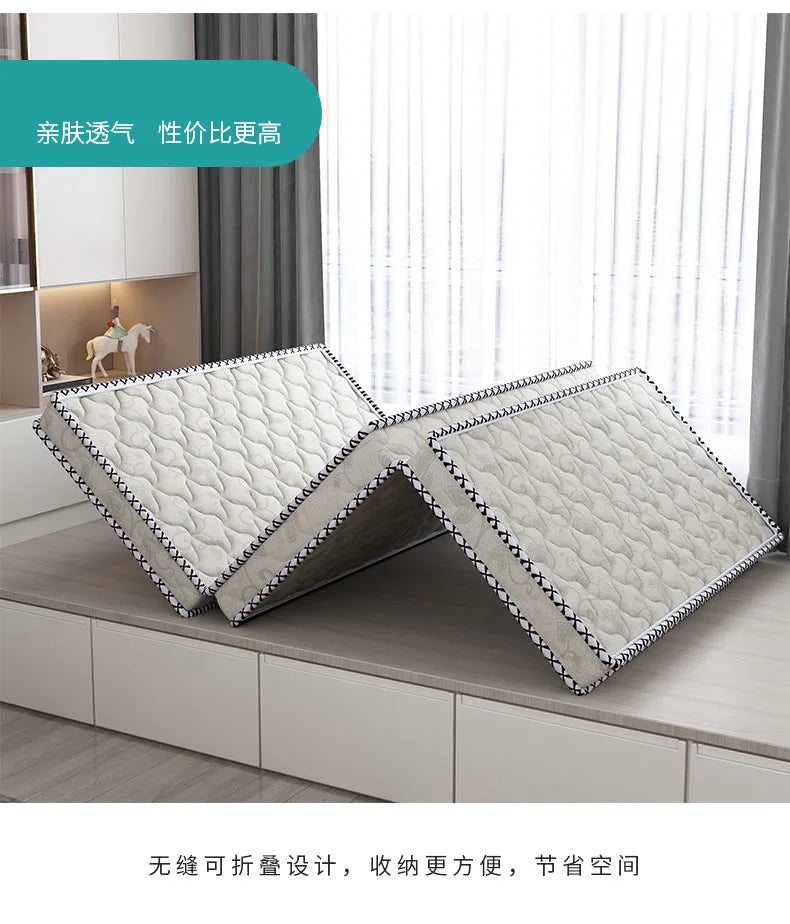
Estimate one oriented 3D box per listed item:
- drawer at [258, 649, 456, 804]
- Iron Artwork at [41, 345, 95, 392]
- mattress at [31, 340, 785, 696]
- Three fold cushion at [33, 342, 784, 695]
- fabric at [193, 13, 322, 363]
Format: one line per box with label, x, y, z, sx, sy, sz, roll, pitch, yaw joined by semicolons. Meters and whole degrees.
drawer;-0.092;0.590;1.988;0.459;0.224;0.314;7;9;27
Iron Artwork;-1.446;-0.385;4.032;0.284;0.157;0.270;-2;4;-19
mattress;-0.060;0.079;2.218;1.356;0.404;1.126;9;15;26
Three fold cushion;-0.079;0.070;2.217;1.355;0.396;1.122;9;16;26
fabric;-0.732;-1.139;4.206;0.570;1.323;0.062;-12;31;-21
